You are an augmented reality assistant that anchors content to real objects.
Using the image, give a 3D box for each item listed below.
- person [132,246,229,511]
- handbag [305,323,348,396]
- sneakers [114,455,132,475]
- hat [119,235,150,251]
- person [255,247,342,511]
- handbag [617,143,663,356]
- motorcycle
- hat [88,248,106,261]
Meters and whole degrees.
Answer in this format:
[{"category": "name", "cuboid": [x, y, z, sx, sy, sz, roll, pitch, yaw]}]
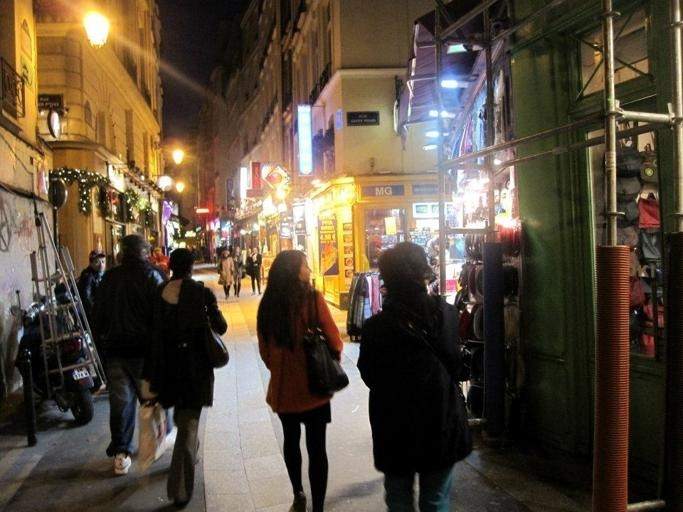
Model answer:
[{"category": "person", "cuboid": [-1.430, 1.079, 5.540, 0.761, 2.272, 0.506, -2, 4, -20]}, {"category": "handbag", "cuboid": [-0.131, 0.871, 4.981, 0.348, 0.564, 0.208, -2, 4, -9]}, {"category": "sneakers", "cuboid": [-2.183, 2.075, 6.046, 0.105, 0.112, 0.228, 0, 9, -16]}, {"category": "hat", "cuboid": [-2.218, -0.155, 6.450, 0.199, 0.135, 0.178, 2, 0, 23]}, {"category": "person", "cuboid": [-0.352, 1.086, 5.079, 0.714, 2.282, 0.360, -1, 3, 3]}, {"category": "handbag", "cuboid": [2.788, -0.071, 5.632, 0.267, 1.933, 0.624, -1, 3, -1]}, {"category": "motorcycle", "cuboid": [-3.550, 1.294, 7.606, 0.893, 1.597, 1.614, -3, 4, -24]}, {"category": "hat", "cuboid": [-4.284, -0.036, 10.566, 0.196, 0.158, 0.280, -5, -17, -40]}]
